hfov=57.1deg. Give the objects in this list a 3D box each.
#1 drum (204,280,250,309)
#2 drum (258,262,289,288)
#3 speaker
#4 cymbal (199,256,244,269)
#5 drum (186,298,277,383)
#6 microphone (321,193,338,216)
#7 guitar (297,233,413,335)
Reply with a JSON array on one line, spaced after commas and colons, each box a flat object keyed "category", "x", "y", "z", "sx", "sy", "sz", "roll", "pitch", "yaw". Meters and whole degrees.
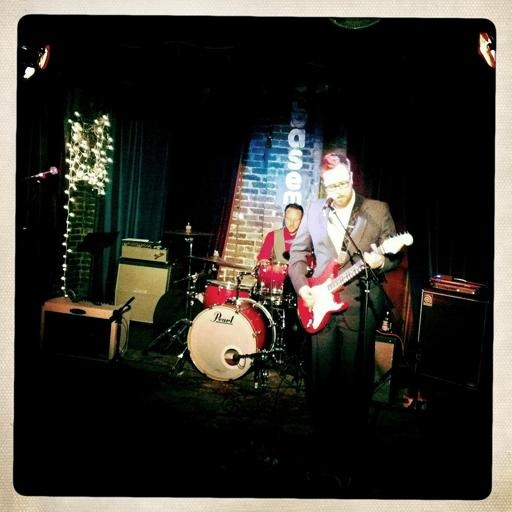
[{"category": "drum", "x": -0.235, "y": 0.250, "z": 3.766, "sx": 0.239, "sy": 0.271, "sz": 0.255, "roll": 7, "pitch": 5, "yaw": 15}, {"category": "drum", "x": 0.120, "y": 0.142, "z": 3.669, "sx": 0.177, "sy": 0.149, "sz": 0.183, "roll": 4, "pitch": -2, "yaw": 20}, {"category": "speaker", "x": 1.572, "y": 0.575, "z": 3.759, "sx": 0.460, "sy": 0.723, "sz": 0.365, "roll": 7, "pitch": 20, "yaw": 27}, {"category": "cymbal", "x": -0.313, "y": 0.047, "z": 3.896, "sx": 0.344, "sy": 0.086, "sz": 0.543, "roll": 10, "pitch": 0, "yaw": -13}, {"category": "drum", "x": -0.170, "y": 0.633, "z": 3.687, "sx": 0.572, "sy": 0.614, "sz": 0.492, "roll": 7, "pitch": 7, "yaw": 33}, {"category": "microphone", "x": 0.450, "y": -0.326, "z": 2.964, "sx": 0.080, "sy": 0.126, "sz": 0.037, "roll": -2, "pitch": 1, "yaw": 44}, {"category": "guitar", "x": 0.597, "y": 0.175, "z": 3.007, "sx": 0.768, "sy": 0.312, "sz": 0.126, "roll": -39, "pitch": -23, "yaw": 24}]
